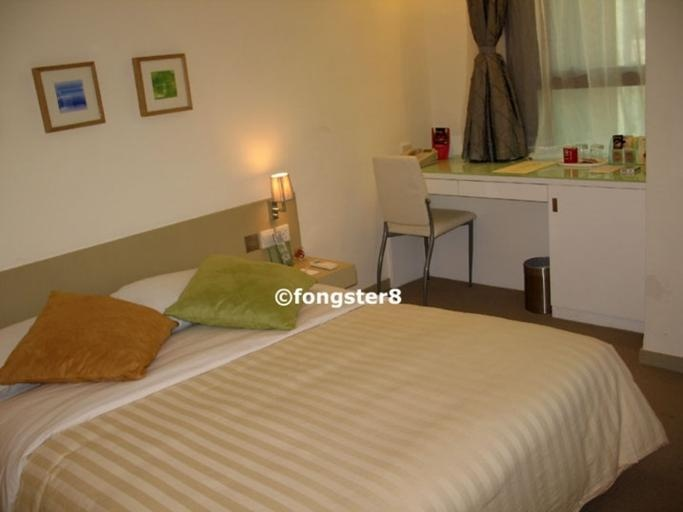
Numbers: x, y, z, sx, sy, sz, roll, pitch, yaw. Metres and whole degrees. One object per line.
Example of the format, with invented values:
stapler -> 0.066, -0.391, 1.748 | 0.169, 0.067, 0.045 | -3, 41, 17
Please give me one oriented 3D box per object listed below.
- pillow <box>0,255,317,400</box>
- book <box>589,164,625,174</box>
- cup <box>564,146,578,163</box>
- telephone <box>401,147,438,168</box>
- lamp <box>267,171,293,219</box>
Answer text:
pillow -> -0.533, 0.180, 2.493 | 0.590, 0.281, 1.086 | 4, 14, 22
book -> 1.702, -0.570, 3.267 | 0.175, 0.032, 0.274 | 2, 16, 28
cup -> 1.576, -0.701, 3.478 | 0.098, 0.155, 0.075 | 1, 9, 26
telephone -> 0.612, -0.826, 4.083 | 0.204, 0.147, 0.206 | 8, 16, 37
lamp -> -0.409, -0.392, 3.334 | 0.162, 0.301, 0.110 | 7, 17, 41
